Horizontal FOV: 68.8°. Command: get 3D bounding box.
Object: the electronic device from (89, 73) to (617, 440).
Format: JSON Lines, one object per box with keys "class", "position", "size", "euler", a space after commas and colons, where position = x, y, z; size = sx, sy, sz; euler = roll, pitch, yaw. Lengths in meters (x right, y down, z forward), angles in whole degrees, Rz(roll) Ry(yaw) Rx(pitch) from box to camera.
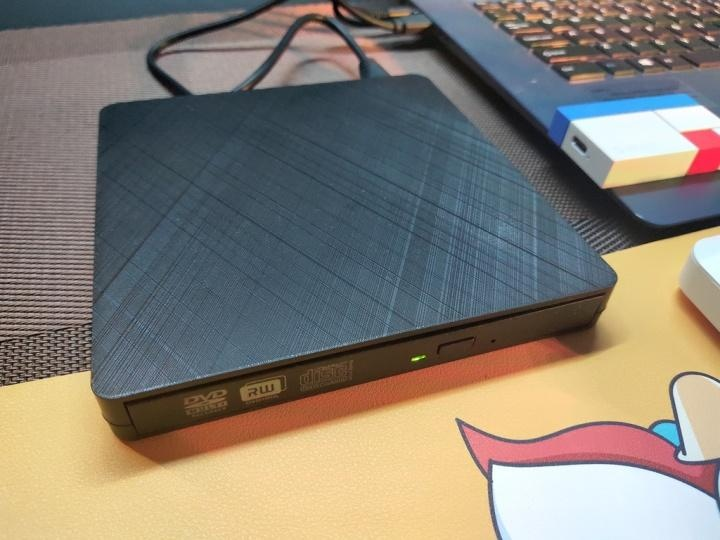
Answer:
{"class": "electronic device", "position": [-0.049, -0.057, 0.523], "size": [0.425, 0.134, 0.367], "euler": [-10, 44, -19]}
